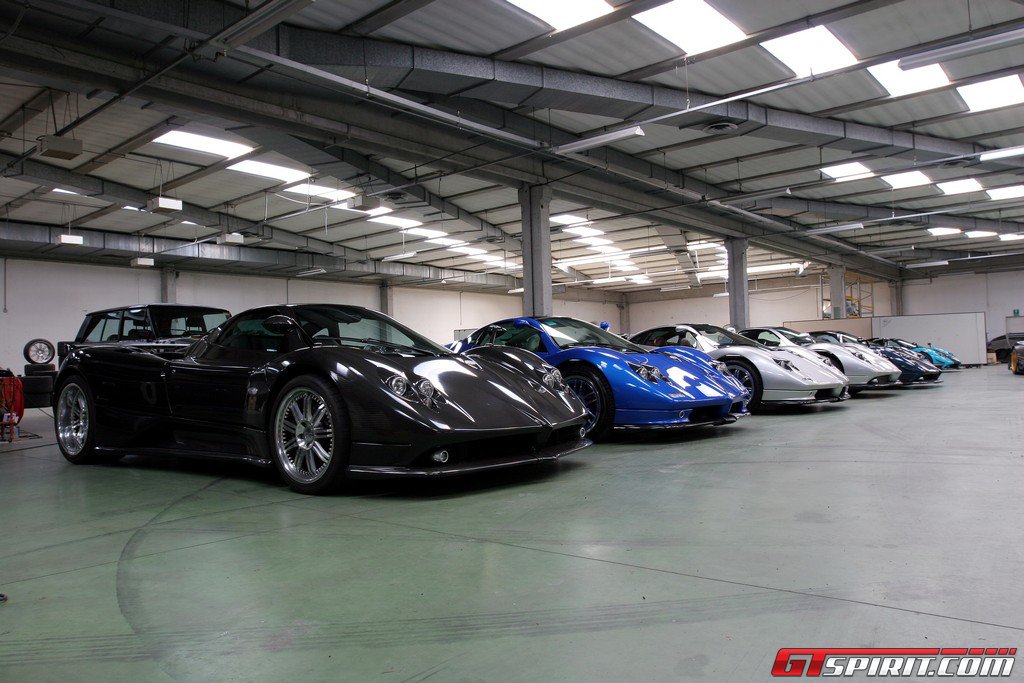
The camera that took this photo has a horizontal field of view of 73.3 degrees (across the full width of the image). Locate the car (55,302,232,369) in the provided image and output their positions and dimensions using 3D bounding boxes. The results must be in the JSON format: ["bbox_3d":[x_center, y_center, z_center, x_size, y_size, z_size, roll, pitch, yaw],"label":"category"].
[{"bbox_3d":[-3.687,-0.074,7.795,2.221,0.548,1.177,-2,-3,29],"label":"car"}]

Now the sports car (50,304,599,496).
[{"bbox_3d":[-1.646,0.452,5.411,3.732,0.638,1.731,-2,-6,24],"label":"sports car"}]
